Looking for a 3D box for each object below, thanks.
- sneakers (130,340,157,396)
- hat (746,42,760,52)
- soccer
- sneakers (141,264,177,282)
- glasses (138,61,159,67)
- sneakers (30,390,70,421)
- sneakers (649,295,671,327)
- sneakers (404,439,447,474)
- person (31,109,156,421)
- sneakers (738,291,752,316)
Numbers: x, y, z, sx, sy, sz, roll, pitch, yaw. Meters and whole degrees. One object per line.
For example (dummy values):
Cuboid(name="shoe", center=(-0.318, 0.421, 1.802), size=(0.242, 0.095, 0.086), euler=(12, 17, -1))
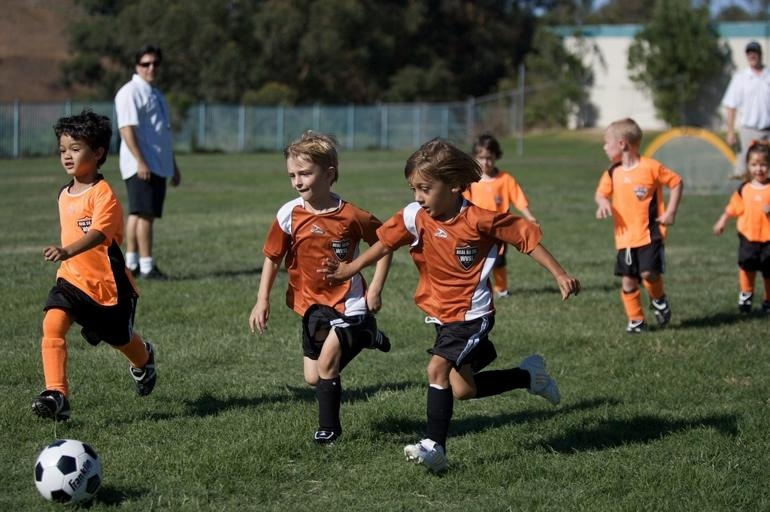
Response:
Cuboid(name="sneakers", center=(-2.455, 1.169, 11.837), size=(0.204, 0.606, 0.254), euler=(0, 17, 17))
Cuboid(name="hat", center=(4.192, -2.393, 13.277), size=(0.181, 0.144, 0.098), euler=(-1, 6, 17))
Cuboid(name="soccer", center=(-2.903, 1.982, 10.788), size=(0.533, 0.564, 0.553), euler=(-18, -8, 35))
Cuboid(name="sneakers", center=(-2.910, 0.245, 14.867), size=(0.470, 0.211, 0.161), euler=(-1, 1, -1))
Cuboid(name="glasses", center=(-2.998, -2.428, 14.647), size=(0.284, 0.112, 0.178), euler=(-4, 6, -13))
Cuboid(name="sneakers", center=(-3.242, 1.437, 11.153), size=(0.175, 0.234, 0.480), euler=(15, -26, 24))
Cuboid(name="sneakers", center=(3.149, 0.640, 13.332), size=(0.148, 0.434, 0.185), euler=(-14, 9, 26))
Cuboid(name="sneakers", center=(0.390, 1.874, 10.957), size=(0.474, 0.219, 0.211), euler=(29, 4, -29))
Cuboid(name="person", center=(-2.945, 0.076, 11.474), size=(1.186, 3.014, 0.717), euler=(-5, 6, -25))
Cuboid(name="sneakers", center=(4.220, 0.539, 13.673), size=(0.155, 0.239, 0.417), euler=(-1, 6, 17))
